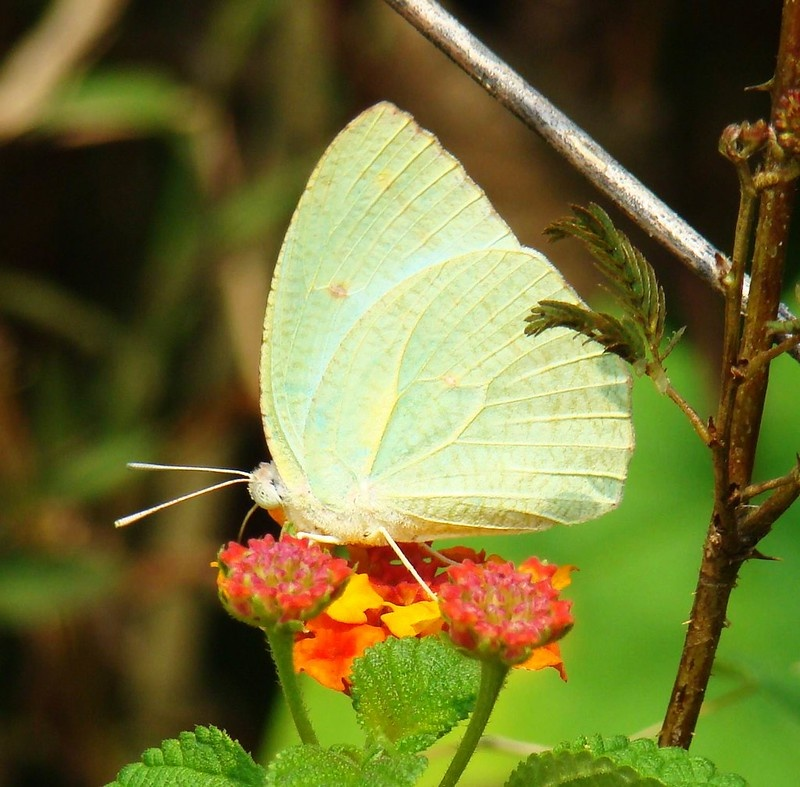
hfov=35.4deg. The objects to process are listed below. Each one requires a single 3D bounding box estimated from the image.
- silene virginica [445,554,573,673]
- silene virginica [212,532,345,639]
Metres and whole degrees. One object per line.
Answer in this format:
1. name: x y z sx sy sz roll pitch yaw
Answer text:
1. silene virginica: 0.169 0.343 2.012 0.205 0.163 0.147 -21 4 3
2. silene virginica: -0.199 0.273 2.034 0.148 0.082 0.162 -16 32 -31
